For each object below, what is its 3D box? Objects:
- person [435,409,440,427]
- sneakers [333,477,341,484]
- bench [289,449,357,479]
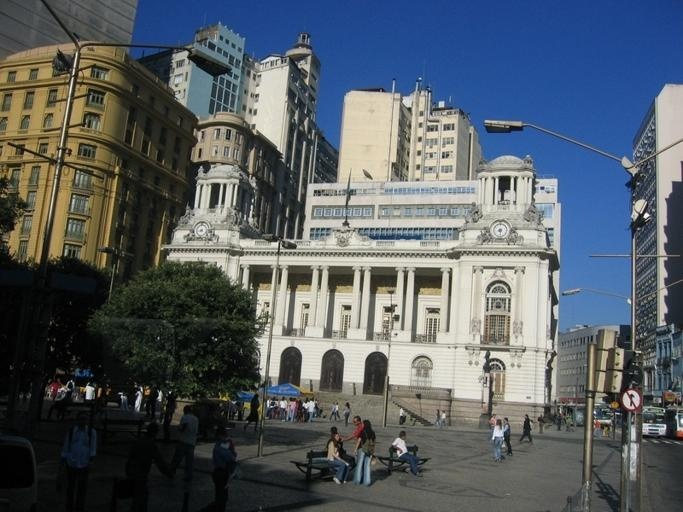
[{"bbox_3d":[8.840,14.769,56.414,0.481,1.322,2.485,1,-12,9],"label":"person"},{"bbox_3d":[-0.133,7.805,21.478,0.228,0.209,0.403,5,-12,-8],"label":"sneakers"},{"bbox_3d":[-0.667,7.586,22.382,1.020,0.992,2.683,-24,-21,19],"label":"bench"}]
